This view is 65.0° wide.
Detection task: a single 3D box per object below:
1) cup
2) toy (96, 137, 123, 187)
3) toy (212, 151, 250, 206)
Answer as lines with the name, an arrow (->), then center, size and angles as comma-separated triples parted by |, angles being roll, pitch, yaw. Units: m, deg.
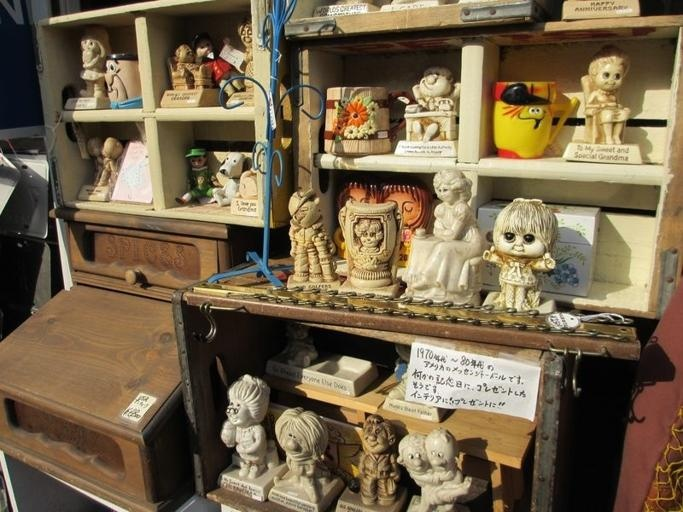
cup -> 0.562, -0.415, 1.639 | 0.290, 0.230, 0.198 | -4, 18, -6
toy -> -1.003, -0.404, 2.331 | 0.085, 0.217, 0.150 | 6, 19, -30
toy -> -0.432, -0.308, 2.133 | 0.157, 0.214, 0.118 | 29, 30, 26
